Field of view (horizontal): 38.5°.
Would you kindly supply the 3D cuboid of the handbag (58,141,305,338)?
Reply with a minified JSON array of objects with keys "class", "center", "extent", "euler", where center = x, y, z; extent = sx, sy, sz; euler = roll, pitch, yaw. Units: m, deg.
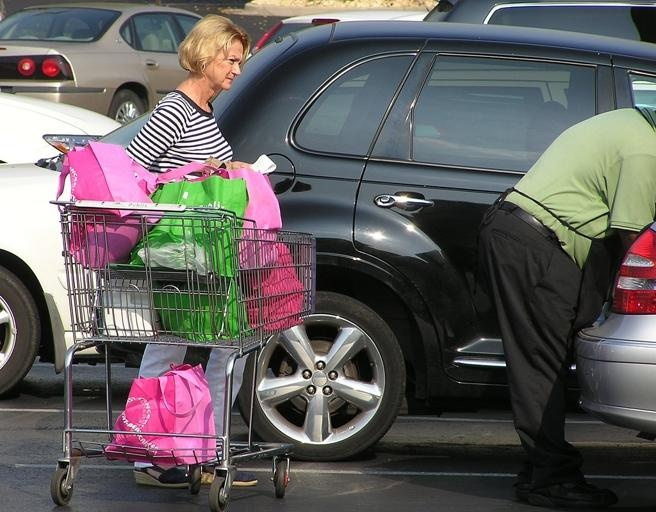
[{"class":"handbag","center":[-0.632,-0.171,4.993],"extent":[1.303,1.022,0.818],"euler":[-24,25,-40]}]

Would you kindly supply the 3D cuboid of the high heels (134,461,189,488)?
[{"class":"high heels","center":[-0.927,1.209,5.250],"extent":[0.390,0.126,0.131],"euler":[1,1,11]}]

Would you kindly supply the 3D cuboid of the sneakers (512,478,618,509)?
[{"class":"sneakers","center":[1.248,1.219,4.889],"extent":[0.482,0.155,0.186],"euler":[-4,-1,14]}]

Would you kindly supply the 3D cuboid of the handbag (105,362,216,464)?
[{"class":"handbag","center":[-0.797,0.788,4.789],"extent":[0.567,0.483,0.551],"euler":[-6,-12,35]}]
